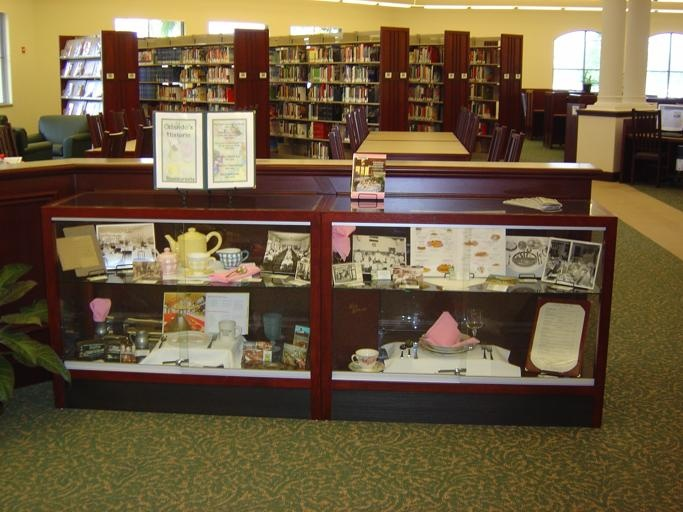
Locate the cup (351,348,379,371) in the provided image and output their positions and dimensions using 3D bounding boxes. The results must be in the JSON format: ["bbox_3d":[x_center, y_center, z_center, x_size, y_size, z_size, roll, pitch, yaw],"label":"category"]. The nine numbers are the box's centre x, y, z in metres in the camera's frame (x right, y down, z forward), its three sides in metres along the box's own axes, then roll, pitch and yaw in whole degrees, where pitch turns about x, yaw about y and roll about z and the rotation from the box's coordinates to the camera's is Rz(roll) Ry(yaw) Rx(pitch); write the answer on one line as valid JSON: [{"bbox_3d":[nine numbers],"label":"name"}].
[{"bbox_3d":[0.129,0.547,2.893,0.134,0.088,0.113,8,18,27],"label":"cup"}]

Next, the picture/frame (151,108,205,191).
[{"bbox_3d":[-0.860,-0.554,2.852,0.393,0.579,0.037,1,7,2],"label":"picture/frame"}]

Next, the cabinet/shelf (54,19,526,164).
[{"bbox_3d":[-0.123,-3.826,12.617,8.854,2.790,3.513,-4,14,-9],"label":"cabinet/shelf"}]

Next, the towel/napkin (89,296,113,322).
[{"bbox_3d":[-1.314,0.279,2.986,0.117,0.150,0.126,3,7,-13],"label":"towel/napkin"}]

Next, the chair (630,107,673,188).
[{"bbox_3d":[5.460,-1.940,9.671,0.596,1.276,0.645,7,15,31],"label":"chair"}]

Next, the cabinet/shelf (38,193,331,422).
[{"bbox_3d":[-0.820,0.274,3.172,1.428,1.128,0.530,6,6,-18],"label":"cabinet/shelf"}]

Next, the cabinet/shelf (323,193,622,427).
[{"bbox_3d":[0.650,0.316,2.821,1.046,0.828,0.383,0,17,3],"label":"cabinet/shelf"}]

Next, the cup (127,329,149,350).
[{"bbox_3d":[-1.123,0.460,2.997,0.120,0.125,0.074,0,3,-7],"label":"cup"}]

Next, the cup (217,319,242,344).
[{"bbox_3d":[-0.617,0.411,2.953,0.133,0.133,0.088,2,8,1],"label":"cup"}]

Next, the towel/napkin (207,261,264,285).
[{"bbox_3d":[-0.566,0.093,2.855,0.203,0.141,0.046,-11,-21,-4],"label":"towel/napkin"}]

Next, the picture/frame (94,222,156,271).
[{"bbox_3d":[-1.161,-0.062,2.889,0.246,0.220,0.018,0,17,-5],"label":"picture/frame"}]

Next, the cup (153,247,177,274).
[{"bbox_3d":[-0.939,0.026,2.910,0.129,0.143,0.104,1,10,-1],"label":"cup"}]

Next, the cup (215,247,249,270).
[{"bbox_3d":[-0.593,0.008,2.914,0.155,0.092,0.110,2,15,0],"label":"cup"}]

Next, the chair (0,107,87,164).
[{"bbox_3d":[-5.511,-2.284,10.363,1.214,0.791,1.931,-8,16,-26],"label":"chair"}]

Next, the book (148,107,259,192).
[{"bbox_3d":[-0.723,-0.563,2.862,0.524,0.417,0.025,0,1,-1],"label":"book"}]

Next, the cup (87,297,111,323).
[{"bbox_3d":[-1.325,0.291,2.969,0.120,0.134,0.119,3,1,0],"label":"cup"}]

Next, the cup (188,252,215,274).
[{"bbox_3d":[-0.756,0.036,2.895,0.111,0.084,0.092,2,7,-3],"label":"cup"}]
